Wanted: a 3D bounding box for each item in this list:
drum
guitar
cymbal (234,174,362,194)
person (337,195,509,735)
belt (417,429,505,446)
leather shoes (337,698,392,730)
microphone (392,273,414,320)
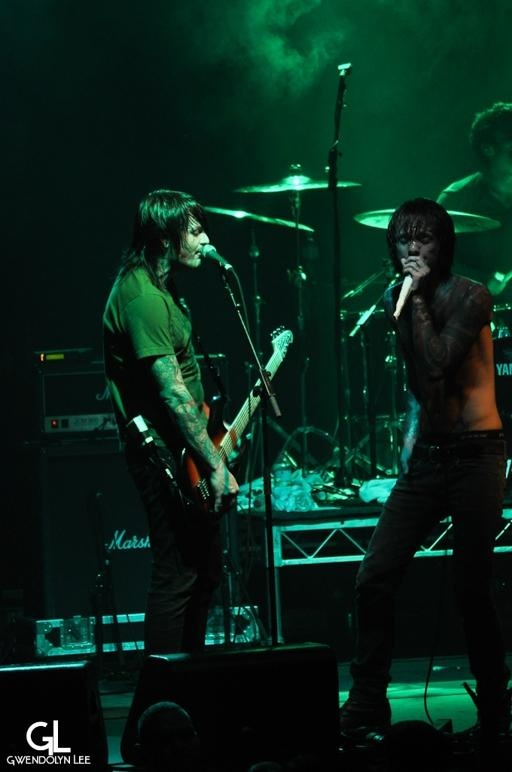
[{"bbox_3d":[0.741,-0.145,5.052,0.615,0.566,0.607,-1,-6,1],"label":"drum"},{"bbox_3d":[-0.086,0.143,3.393,0.138,0.325,1.206,-3,32,20],"label":"guitar"},{"bbox_3d":[0.245,-1.328,5.164,0.405,0.077,0.392,-8,14,-27],"label":"cymbal"},{"bbox_3d":[0.452,0.208,2.265,0.526,1.416,0.334,-4,-1,3],"label":"person"},{"bbox_3d":[0.576,0.151,2.243,0.236,0.039,0.096,-4,-2,11],"label":"belt"},{"bbox_3d":[0.304,0.928,2.189,0.140,0.079,0.167,-4,-2,4],"label":"leather shoes"},{"bbox_3d":[0.406,-0.251,2.187,0.034,0.152,0.042,14,-34,17],"label":"microphone"}]
